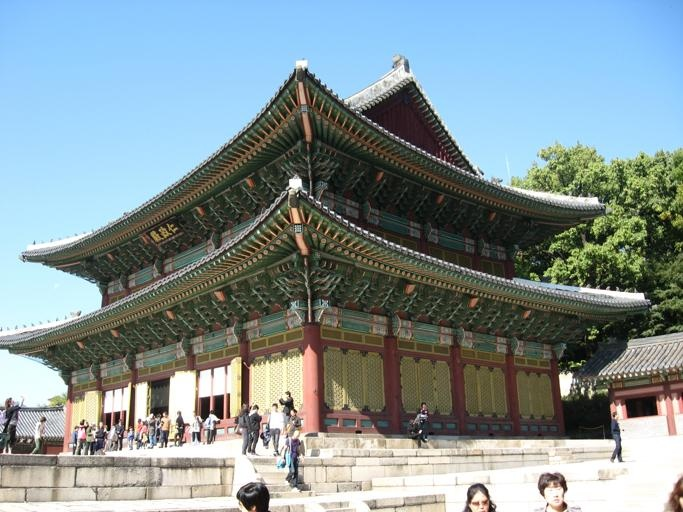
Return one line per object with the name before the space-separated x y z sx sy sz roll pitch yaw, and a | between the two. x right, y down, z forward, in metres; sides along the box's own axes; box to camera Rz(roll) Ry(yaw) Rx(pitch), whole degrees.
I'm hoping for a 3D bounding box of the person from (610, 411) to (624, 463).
person | 8.557 5.684 20.286 0.363 1.481 1.775 -7 -15 20
